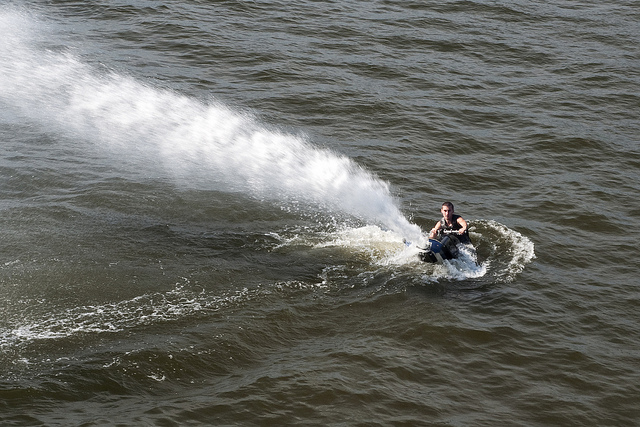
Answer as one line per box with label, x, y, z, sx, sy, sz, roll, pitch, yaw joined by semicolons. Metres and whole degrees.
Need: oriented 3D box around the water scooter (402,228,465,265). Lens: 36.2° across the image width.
water scooter;3.572;0.864;28.252;1.149;0.508;1.670;22;34;39
